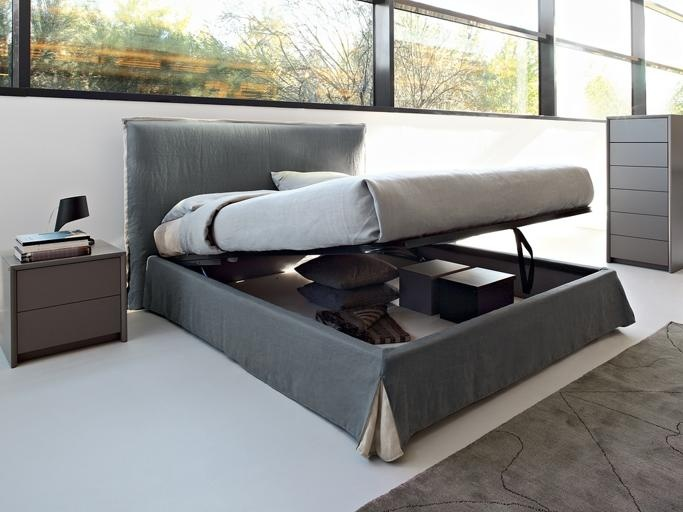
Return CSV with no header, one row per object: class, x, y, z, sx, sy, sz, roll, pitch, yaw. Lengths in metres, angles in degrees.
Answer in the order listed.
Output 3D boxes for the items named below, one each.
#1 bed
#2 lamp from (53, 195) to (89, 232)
bed,0.144,-0.193,2.798,2.300,1.243,2.356,-8,15,-33
lamp,-1.415,-0.229,2.536,0.219,0.163,0.143,-11,2,15
